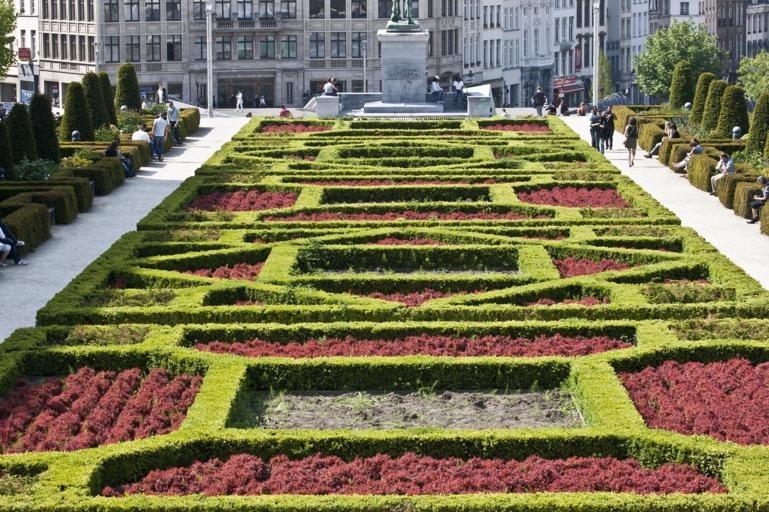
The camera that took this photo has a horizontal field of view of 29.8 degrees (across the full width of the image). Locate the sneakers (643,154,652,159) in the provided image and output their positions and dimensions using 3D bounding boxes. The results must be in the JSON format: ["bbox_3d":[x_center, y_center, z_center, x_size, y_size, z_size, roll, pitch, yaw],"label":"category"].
[{"bbox_3d":[9.515,-3.639,52.343,0.275,0.123,0.100,4,44,6],"label":"sneakers"}]

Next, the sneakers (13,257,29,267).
[{"bbox_3d":[-9.388,0.155,37.304,0.350,0.244,0.118,-1,6,-4],"label":"sneakers"}]

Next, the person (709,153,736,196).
[{"bbox_3d":[10.328,-2.524,44.361,0.795,1.381,0.593,4,-10,-10],"label":"person"}]

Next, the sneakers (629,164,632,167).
[{"bbox_3d":[8.517,-3.207,50.149,0.103,0.150,0.196,0,16,9],"label":"sneakers"}]

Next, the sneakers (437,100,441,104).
[{"bbox_3d":[2.405,-6.973,65.055,0.153,0.178,0.391,1,13,1],"label":"sneakers"}]
